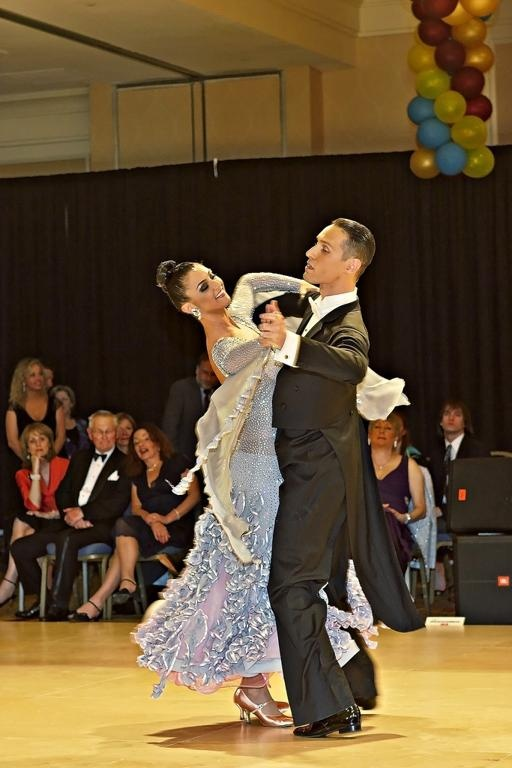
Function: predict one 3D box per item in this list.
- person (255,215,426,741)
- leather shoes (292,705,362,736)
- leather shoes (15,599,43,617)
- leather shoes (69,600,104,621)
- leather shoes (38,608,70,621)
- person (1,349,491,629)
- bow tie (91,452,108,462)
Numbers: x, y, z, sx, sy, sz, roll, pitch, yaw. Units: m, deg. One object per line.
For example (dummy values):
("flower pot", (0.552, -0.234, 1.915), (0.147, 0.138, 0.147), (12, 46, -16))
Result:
("person", (0.210, 0.224, 1.740), (0.366, 1.346, 0.632), (-1, -2, 17))
("leather shoes", (0.183, 0.802, 1.697), (0.189, 0.075, 0.064), (-4, -5, 15))
("leather shoes", (-1.550, 1.545, 4.821), (0.100, 0.112, 0.279), (-1, -13, 15))
("leather shoes", (-1.081, 1.462, 4.498), (0.120, 0.087, 0.225), (-4, -11, 33))
("leather shoes", (-1.301, 1.498, 4.539), (0.203, 0.082, 0.068), (4, -8, -5))
("person", (-0.059, 0.573, 3.629), (2.093, 0.915, 1.395), (-2, -16, 7))
("bow tie", (-1.154, 0.539, 5.165), (0.086, 0.059, 0.011), (-1, -23, 11))
